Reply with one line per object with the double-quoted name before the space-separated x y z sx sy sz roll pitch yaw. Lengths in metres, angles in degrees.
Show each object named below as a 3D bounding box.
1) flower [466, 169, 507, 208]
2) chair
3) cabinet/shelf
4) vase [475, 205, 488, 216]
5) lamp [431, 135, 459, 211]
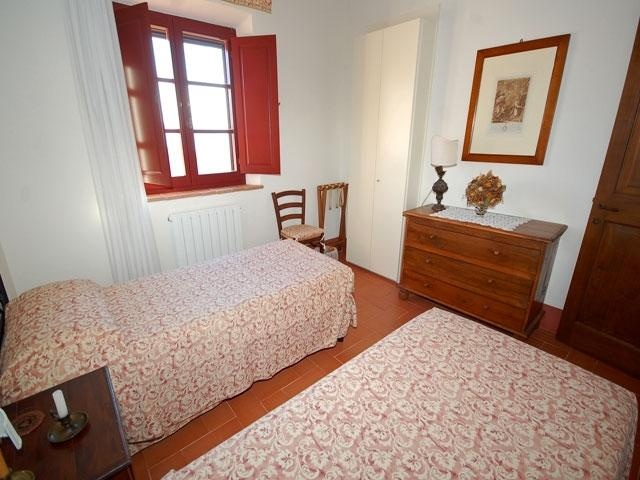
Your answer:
"flower" 1.499 -0.469 3.702 0.384 0.212 0.353 35 -6 -30
"chair" -0.242 -0.097 4.572 0.506 0.785 0.508 15 24 34
"cabinet/shelf" 1.483 0.236 3.956 1.236 1.011 0.699 19 28 36
"vase" 1.463 -0.272 3.709 0.092 0.076 0.089 7 28 22
"lamp" 1.204 -0.652 4.013 0.262 0.700 0.420 6 19 17
